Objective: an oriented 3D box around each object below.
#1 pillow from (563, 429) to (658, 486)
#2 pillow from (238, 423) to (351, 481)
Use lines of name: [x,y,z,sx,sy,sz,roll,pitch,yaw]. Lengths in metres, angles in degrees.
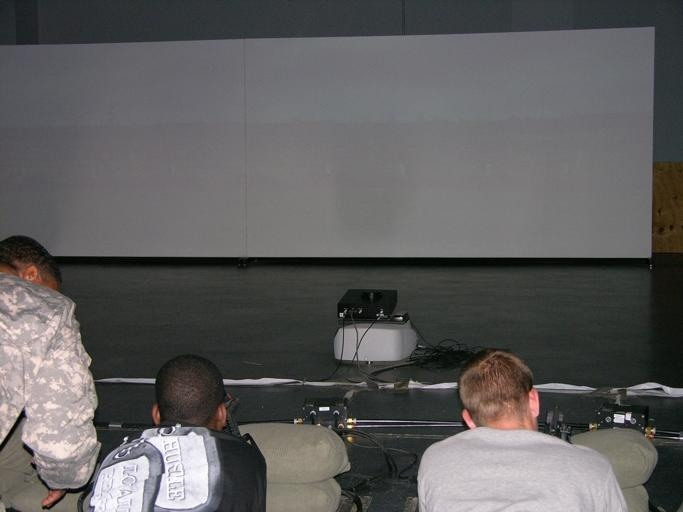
pillow: [1.639,1.193,5.614,0.561,0.320,0.560,3,6,-4]
pillow: [-0.272,1.139,5.464,0.417,0.174,0.433,-1,-3,-1]
